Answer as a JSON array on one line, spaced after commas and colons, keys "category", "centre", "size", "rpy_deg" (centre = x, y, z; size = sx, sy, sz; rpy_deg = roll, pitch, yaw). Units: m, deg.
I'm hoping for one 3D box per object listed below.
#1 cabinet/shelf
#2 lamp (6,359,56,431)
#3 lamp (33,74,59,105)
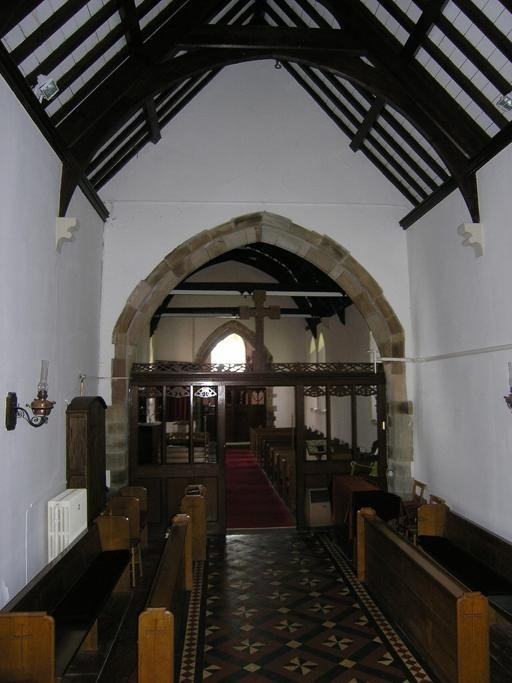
[{"category": "cabinet/shelf", "centre": [-1.540, 1.058, 4.973], "size": [0.266, 1.227, 0.867], "rpy_deg": [-1, -12, 1]}, {"category": "lamp", "centre": [-1.539, 0.368, 3.837], "size": [0.248, 0.462, 0.633], "rpy_deg": [1, -4, -13]}, {"category": "lamp", "centre": [-1.502, -1.809, 3.964], "size": [0.233, 0.178, 0.115], "rpy_deg": [22, 38, 34]}]
